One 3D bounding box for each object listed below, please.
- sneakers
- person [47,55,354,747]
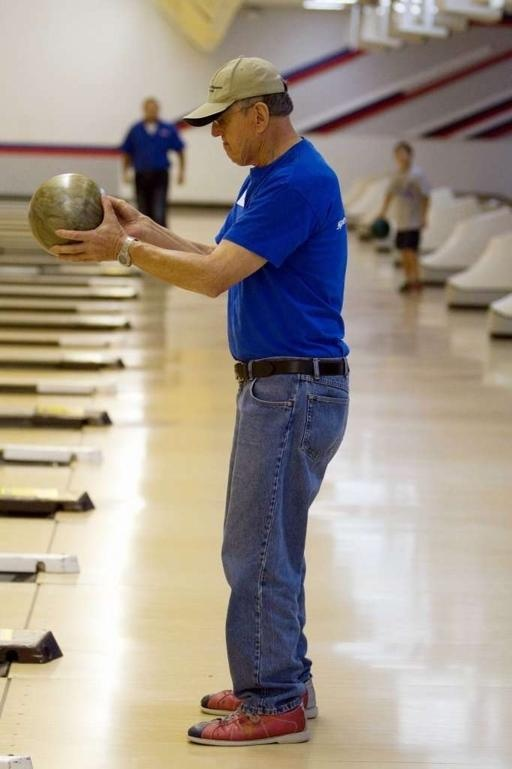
[{"bbox_3d":[-0.012,0.704,1.725,0.305,0.115,0.097,2,-3,-5],"label":"sneakers"},{"bbox_3d":[-0.071,0.050,1.682,0.497,1.382,0.368,6,13,13],"label":"person"}]
